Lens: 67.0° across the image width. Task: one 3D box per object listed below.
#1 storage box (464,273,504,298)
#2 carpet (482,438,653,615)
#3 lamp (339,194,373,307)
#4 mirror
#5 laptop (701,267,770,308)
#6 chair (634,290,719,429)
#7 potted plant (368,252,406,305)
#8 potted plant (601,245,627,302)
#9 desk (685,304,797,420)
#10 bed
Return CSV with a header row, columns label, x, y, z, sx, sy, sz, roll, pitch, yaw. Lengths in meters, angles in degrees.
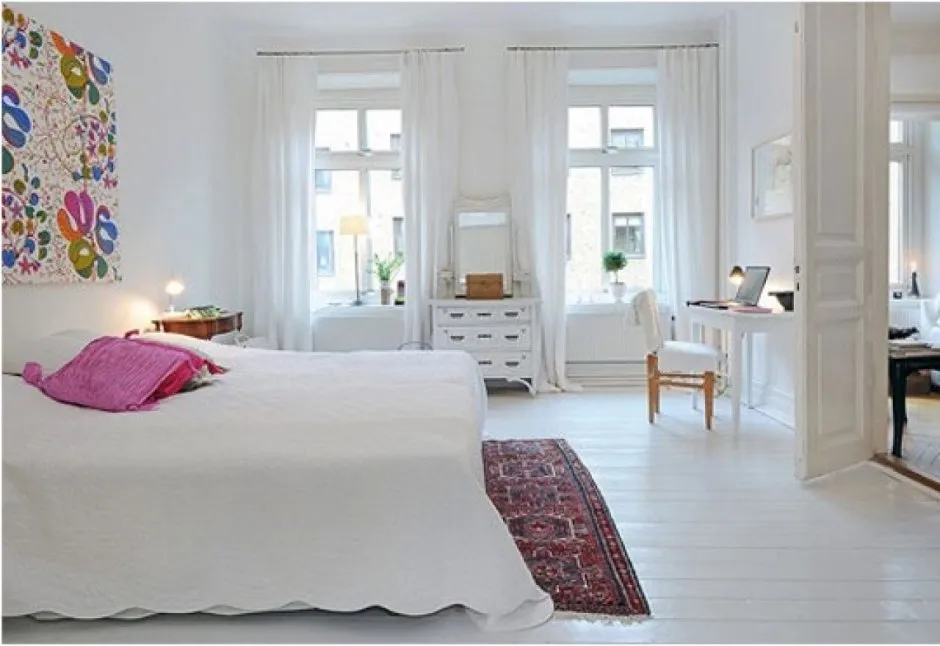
label,x,y,z,sx,sy,sz,roll,pitch,yaw
storage box,0.134,-0.353,6.755,0.337,0.232,0.218,0,-4,1
carpet,0.527,0.929,3.935,0.463,0.025,1.412,-2,8,-5
lamp,-1.170,-0.663,7.232,0.265,0.962,0.426,-2,6,-9
mirror,0.123,-0.759,7.060,0.596,1.059,0.047,-2,28,-1
laptop,2.244,-0.307,5.951,0.418,0.275,0.438,-2,3,-5
chair,1.683,0.285,5.811,0.750,1.021,0.665,0,0,31
potted plant,-0.838,-0.457,7.301,0.464,0.516,0.471,0,-2,-2
potted plant,1.502,-0.505,7.351,0.247,0.519,0.333,0,6,11
desk,2.301,0.280,5.828,0.770,0.984,1.337,-2,4,-4
bed,-1.062,0.858,3.633,1.994,0.608,1.615,2,3,1
